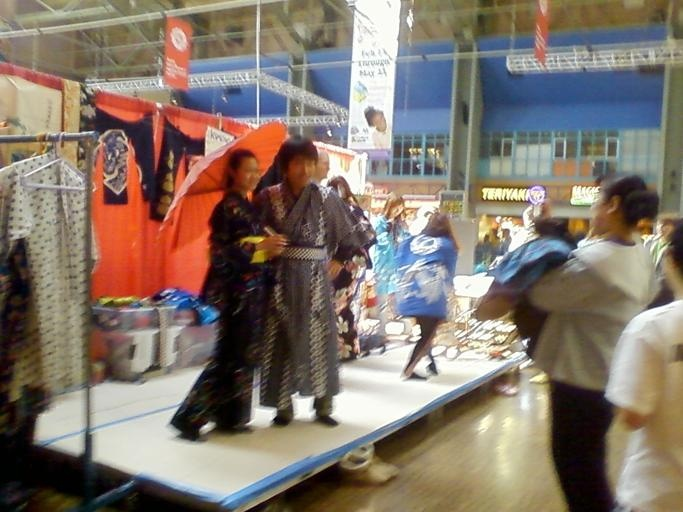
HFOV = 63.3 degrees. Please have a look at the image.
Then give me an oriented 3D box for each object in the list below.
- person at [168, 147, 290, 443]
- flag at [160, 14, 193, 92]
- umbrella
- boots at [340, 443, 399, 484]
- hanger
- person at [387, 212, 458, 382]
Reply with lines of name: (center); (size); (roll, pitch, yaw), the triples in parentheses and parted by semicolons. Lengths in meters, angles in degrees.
person: (-0.560, 0.293, 2.788); (0.485, 1.227, 0.235); (4, 10, -17)
flag: (-1.524, -1.900, 5.148); (0.229, 0.652, 0.525); (4, 10, -19)
umbrella: (-0.660, -0.383, 2.845); (0.343, 0.686, 0.700); (43, 10, 7)
boots: (0.163, 1.071, 2.866); (0.319, 0.147, 0.176); (-1, 12, -39)
hanger: (-1.369, -0.438, 2.574); (0.066, 0.290, 0.470); (2, 9, 17)
person: (0.567, 0.277, 3.988); (0.436, 1.184, 0.341); (9, 9, 9)
